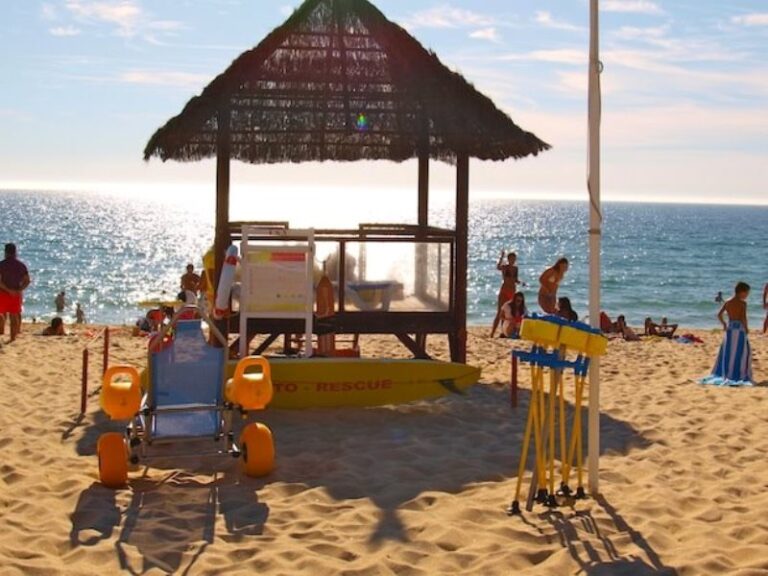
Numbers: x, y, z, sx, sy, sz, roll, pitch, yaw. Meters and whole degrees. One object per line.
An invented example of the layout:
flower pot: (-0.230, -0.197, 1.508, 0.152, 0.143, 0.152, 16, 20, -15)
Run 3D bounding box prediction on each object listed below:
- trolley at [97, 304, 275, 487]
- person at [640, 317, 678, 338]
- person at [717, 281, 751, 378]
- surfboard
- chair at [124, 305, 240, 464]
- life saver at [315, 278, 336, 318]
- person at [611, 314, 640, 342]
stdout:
trolley: (-2.267, 1.042, 10.980, 1.885, 1.898, 1.774, -2, 5, -17)
person: (5.870, 0.815, 20.811, 0.459, 0.457, 0.724, 3, 5, 5)
person: (5.367, 0.614, 14.794, 0.400, 1.433, 0.593, 1, 5, 13)
surfboard: (-0.979, 1.127, 12.025, 3.210, 0.457, 0.798, 0, 5, -5)
chair: (-2.205, 0.991, 10.656, 0.997, 1.304, 1.972, 0, 10, -14)
life saver: (-0.818, 0.080, 13.453, 0.249, 0.545, 0.211, -1, 5, -7)
person: (4.994, 0.736, 20.017, 0.480, 0.434, 0.875, 0, 5, 5)
